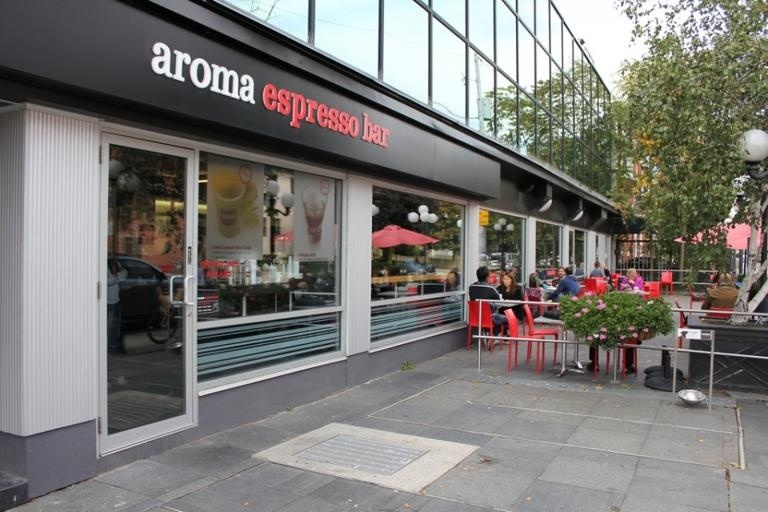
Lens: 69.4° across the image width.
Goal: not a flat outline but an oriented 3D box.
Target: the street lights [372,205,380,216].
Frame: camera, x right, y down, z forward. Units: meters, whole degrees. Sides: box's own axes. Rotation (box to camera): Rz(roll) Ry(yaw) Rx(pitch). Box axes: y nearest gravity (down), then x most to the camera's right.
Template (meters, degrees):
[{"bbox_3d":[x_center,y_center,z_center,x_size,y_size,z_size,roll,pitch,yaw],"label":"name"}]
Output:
[{"bbox_3d":[-0.151,-0.803,9.976,0.155,0.156,0.050,23,1,17],"label":"street lights"}]

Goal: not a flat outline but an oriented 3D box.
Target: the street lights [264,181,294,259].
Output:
[{"bbox_3d":[-1.566,-0.576,8.258,0.085,1.166,0.536,3,6,30],"label":"street lights"}]

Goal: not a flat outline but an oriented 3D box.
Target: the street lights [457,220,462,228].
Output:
[{"bbox_3d":[1.753,-0.722,12.758,0.036,0.190,0.257,3,5,28],"label":"street lights"}]

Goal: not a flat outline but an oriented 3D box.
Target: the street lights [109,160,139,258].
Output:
[{"bbox_3d":[-3.058,-0.566,6.505,0.097,1.112,0.412,3,6,32],"label":"street lights"}]

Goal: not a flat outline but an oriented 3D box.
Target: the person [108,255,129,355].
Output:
[{"bbox_3d":[-3.106,0.571,6.437,0.087,1.134,0.290,2,5,27],"label":"person"}]

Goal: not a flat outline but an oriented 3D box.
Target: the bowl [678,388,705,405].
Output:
[{"bbox_3d":[4.600,2.136,8.298,0.378,0.188,0.298,3,5,29],"label":"bowl"}]
